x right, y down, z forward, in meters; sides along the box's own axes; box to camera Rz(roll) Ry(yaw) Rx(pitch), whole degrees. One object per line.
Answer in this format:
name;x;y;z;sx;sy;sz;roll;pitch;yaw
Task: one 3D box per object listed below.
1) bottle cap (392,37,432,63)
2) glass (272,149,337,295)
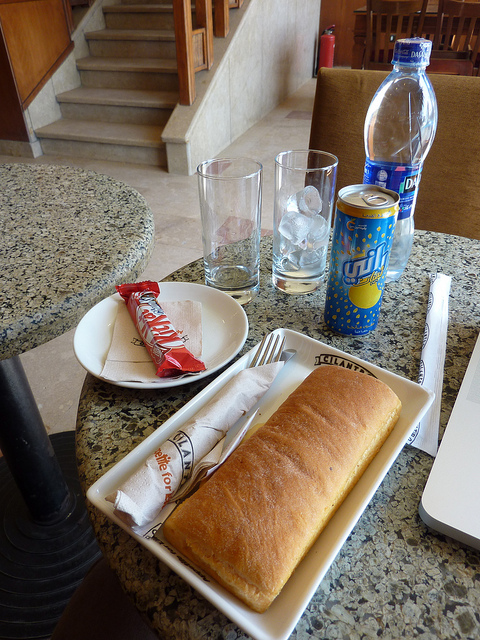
bottle cap;0.199;-0.312;0.549;0.038;0.025;0.040;0;37;11
glass;0.087;-0.133;0.668;0.082;0.193;0.085;11;40;13
